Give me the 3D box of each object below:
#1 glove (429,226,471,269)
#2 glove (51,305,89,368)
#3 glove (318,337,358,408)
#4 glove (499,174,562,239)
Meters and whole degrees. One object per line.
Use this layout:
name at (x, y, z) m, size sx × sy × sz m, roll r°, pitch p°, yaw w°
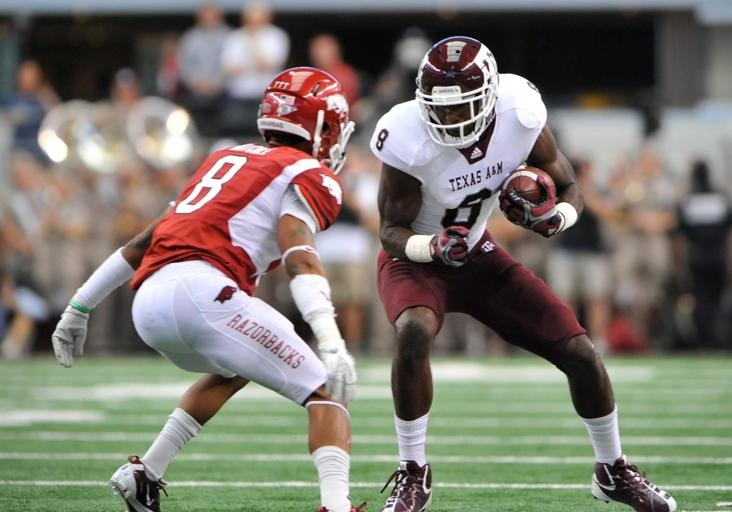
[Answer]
glove at (0.458, -0.056, 6.152) m, size 0.279 × 0.265 × 0.205 m, roll -8°, pitch -2°, yaw 43°
glove at (-1.714, 0.481, 6.248) m, size 0.222 × 0.349 × 0.134 m, roll 1°, pitch 9°, yaw -22°
glove at (-0.135, 0.612, 5.661) m, size 0.178 × 0.332 × 0.098 m, roll -12°, pitch 4°, yaw -11°
glove at (0.949, -0.302, 6.233) m, size 0.386 × 0.289 × 0.282 m, roll 20°, pitch 23°, yaw -6°
